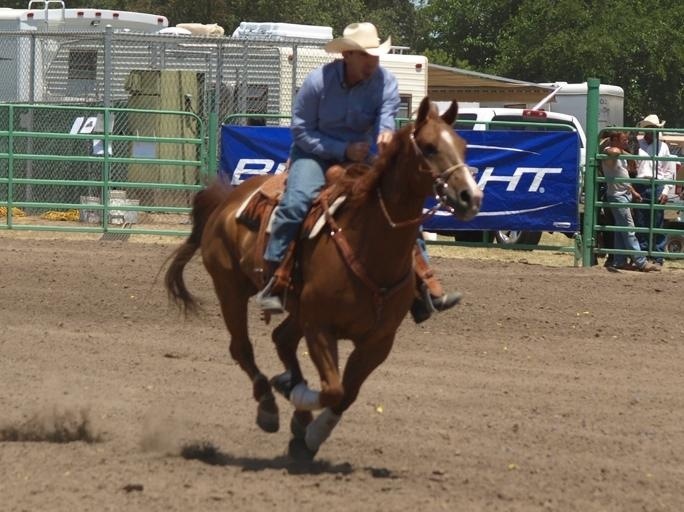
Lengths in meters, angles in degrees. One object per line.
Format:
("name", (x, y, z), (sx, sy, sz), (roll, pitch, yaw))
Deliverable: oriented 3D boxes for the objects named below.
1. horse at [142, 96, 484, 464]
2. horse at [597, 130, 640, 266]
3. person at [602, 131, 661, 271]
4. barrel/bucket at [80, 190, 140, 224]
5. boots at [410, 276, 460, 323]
("horse", (-0.179, 0.197, 8.387), (0.898, 3.315, 3.430), (-3, 9, -39))
("horse", (4.799, -0.952, 15.262), (0.673, 2.141, 1.105), (-8, 15, 4))
("person", (4.768, -0.948, 15.179), (0.971, 2.270, 0.706), (5, 7, 16))
("barrel/bucket", (-4.364, -0.871, 16.778), (1.100, 0.579, 0.669), (1, 0, 10))
("boots", (0.895, 0.344, 8.549), (0.481, 0.381, 0.189), (-18, -9, 23))
